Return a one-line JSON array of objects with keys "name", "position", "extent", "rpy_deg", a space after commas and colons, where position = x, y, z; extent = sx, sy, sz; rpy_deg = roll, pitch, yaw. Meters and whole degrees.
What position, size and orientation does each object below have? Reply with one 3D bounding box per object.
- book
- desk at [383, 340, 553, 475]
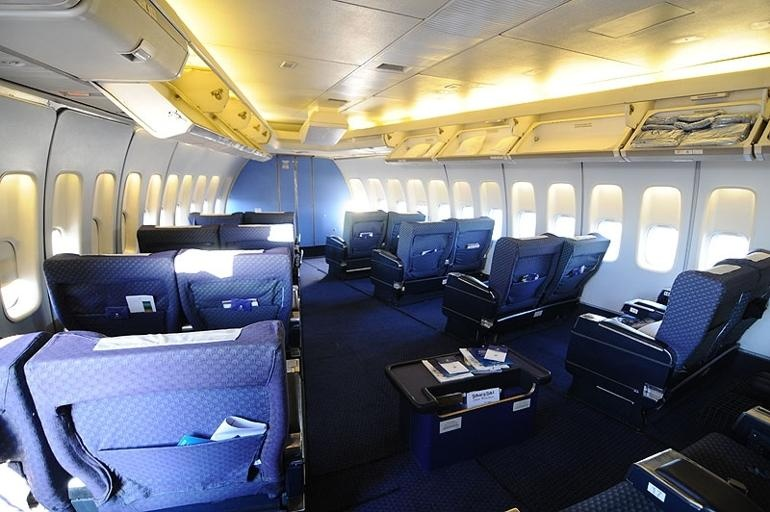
[{"name": "book", "position": [0.852, 1.084, 4.883], "extent": [0.601, 0.113, 0.414], "rpy_deg": [-4, 10, -16]}, {"name": "desk", "position": [0.856, 1.471, 5.025], "extent": [1.627, 0.640, 0.799], "rpy_deg": [-6, 21, -23]}]
